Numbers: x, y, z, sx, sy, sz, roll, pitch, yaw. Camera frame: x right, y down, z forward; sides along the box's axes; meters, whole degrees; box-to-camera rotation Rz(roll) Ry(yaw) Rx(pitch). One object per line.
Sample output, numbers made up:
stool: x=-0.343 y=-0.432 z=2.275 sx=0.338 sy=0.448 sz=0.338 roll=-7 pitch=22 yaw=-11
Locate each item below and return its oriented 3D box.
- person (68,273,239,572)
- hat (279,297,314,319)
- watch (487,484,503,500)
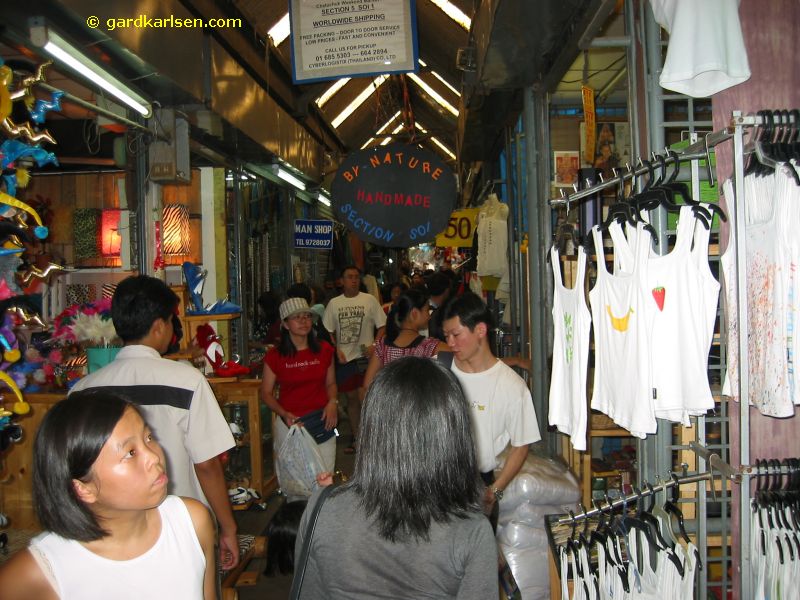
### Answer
person: x=-1.269 y=0.842 z=3.983 sx=0.813 sy=1.944 sz=0.496 roll=3 pitch=14 yaw=12
hat: x=-0.740 y=0.059 z=5.542 sx=0.234 sy=0.162 sz=0.217 roll=-1 pitch=-4 yaw=2
watch: x=0.469 y=0.951 z=3.961 sx=0.059 sy=0.033 sz=0.083 roll=2 pitch=0 yaw=10
